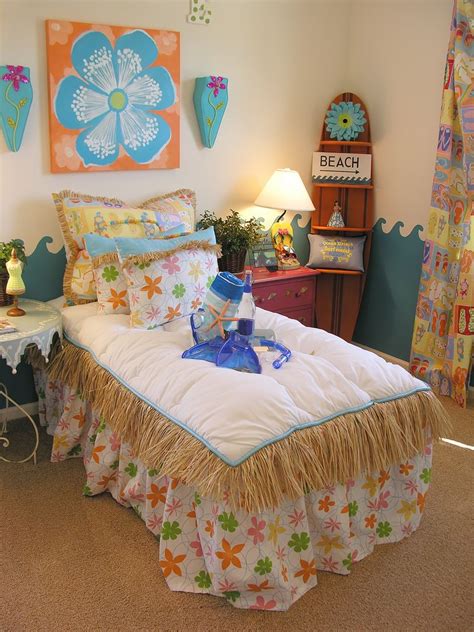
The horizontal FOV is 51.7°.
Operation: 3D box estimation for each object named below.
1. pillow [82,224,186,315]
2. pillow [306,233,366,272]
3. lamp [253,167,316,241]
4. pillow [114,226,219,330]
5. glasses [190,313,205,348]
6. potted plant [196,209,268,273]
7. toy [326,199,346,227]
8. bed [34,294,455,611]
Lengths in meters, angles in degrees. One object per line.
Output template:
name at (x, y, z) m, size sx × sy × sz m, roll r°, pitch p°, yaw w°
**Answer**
pillow at (-0.545, -0.178, 2.122) m, size 0.318 × 0.293 × 0.094 m, roll -4°, pitch -4°, yaw 9°
pillow at (0.651, -0.410, 3.190) m, size 0.291 × 0.198 × 0.086 m, roll 3°, pitch 0°, yaw 5°
lamp at (0.301, -0.689, 2.956) m, size 0.314 × 0.359 × 0.343 m, roll 19°, pitch 22°, yaw 35°
pillow at (-0.299, -0.142, 2.005) m, size 0.134 × 0.299 × 0.402 m, roll 12°, pitch 21°, yaw 42°
glasses at (-0.144, 0.046, 1.783) m, size 0.024 × 0.106 × 0.062 m, roll -7°, pitch 24°, yaw -3°
potted plant at (0.004, -0.402, 2.849) m, size 0.165 × 0.227 × 0.228 m, roll 17°, pitch 28°, yaw 13°
toy at (0.659, -0.675, 3.250) m, size 0.118 × 0.173 × 0.109 m, roll 1°, pitch 13°, yaw 1°
bed at (-0.119, 0.331, 1.633) m, size 0.754 × 0.392 × 1.151 m, roll -11°, pitch 20°, yaw -36°
